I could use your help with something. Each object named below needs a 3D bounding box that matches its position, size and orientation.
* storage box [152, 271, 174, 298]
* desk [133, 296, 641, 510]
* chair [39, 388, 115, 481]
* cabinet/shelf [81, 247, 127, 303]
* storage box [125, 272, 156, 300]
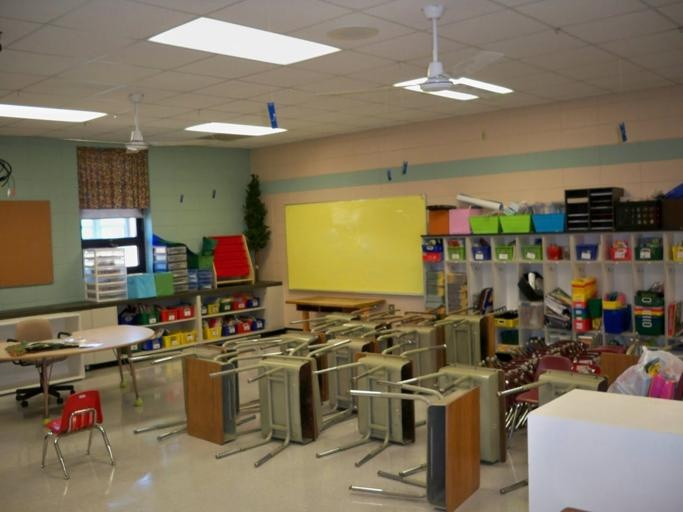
[{"bbox_3d":[-3.066,0.491,9.569,0.339,0.455,0.449,-2,3,-15],"label":"storage box"},{"bbox_3d":[0.337,1.469,5.744,4.251,1.133,2.063,2,10,28],"label":"desk"},{"bbox_3d":[-2.772,1.710,5.731,0.676,0.836,0.839,-8,10,-29],"label":"chair"},{"bbox_3d":[-3.861,0.307,9.010,0.650,0.847,0.476,-7,9,-22],"label":"cabinet/shelf"},{"bbox_3d":[-3.377,0.497,9.351,0.394,0.410,0.423,2,3,31],"label":"storage box"}]
